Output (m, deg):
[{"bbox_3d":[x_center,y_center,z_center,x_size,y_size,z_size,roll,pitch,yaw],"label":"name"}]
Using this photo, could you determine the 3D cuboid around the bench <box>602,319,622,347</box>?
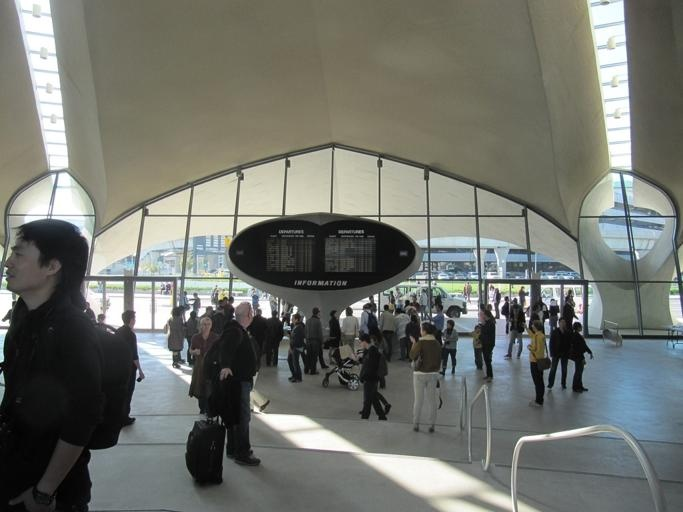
[{"bbox_3d":[12.401,3.615,20.835,0.458,0.893,0.864,-1,1,-12],"label":"bench"}]

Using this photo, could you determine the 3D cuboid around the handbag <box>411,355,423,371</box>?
[{"bbox_3d":[1.453,2.142,8.993,0.192,0.280,0.276,5,-7,-25],"label":"handbag"}]

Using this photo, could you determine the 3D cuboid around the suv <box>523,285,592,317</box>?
[{"bbox_3d":[10.367,2.534,21.765,3.041,1.894,2.017,2,-1,8],"label":"suv"}]

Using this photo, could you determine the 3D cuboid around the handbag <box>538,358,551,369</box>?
[{"bbox_3d":[4.812,2.576,10.743,0.343,0.273,0.174,5,-6,-24],"label":"handbag"}]

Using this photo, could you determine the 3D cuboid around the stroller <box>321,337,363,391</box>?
[{"bbox_3d":[0.116,3.095,12.797,1.073,1.108,0.718,2,-1,8],"label":"stroller"}]

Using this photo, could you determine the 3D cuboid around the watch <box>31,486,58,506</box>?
[{"bbox_3d":[-1.526,1.244,2.328,0.082,0.056,0.103,19,-14,-27],"label":"watch"}]

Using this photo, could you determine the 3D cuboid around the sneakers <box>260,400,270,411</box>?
[{"bbox_3d":[-1.545,3.052,9.283,0.218,0.202,0.592,16,-18,0],"label":"sneakers"}]

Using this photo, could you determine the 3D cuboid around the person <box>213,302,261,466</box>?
[{"bbox_3d":[-1.400,1.745,6.284,0.644,2.172,0.617,3,-6,-9],"label":"person"}]

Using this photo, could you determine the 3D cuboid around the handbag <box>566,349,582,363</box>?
[{"bbox_3d":[6.239,2.700,12.141,0.256,0.317,0.227,3,-6,-9],"label":"handbag"}]

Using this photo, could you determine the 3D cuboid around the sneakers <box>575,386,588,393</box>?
[{"bbox_3d":[6.349,3.552,11.998,0.438,0.119,0.214,5,-7,-20],"label":"sneakers"}]

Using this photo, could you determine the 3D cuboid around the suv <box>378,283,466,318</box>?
[{"bbox_3d":[4.213,2.475,22.487,4.197,1.716,1.909,-1,2,1],"label":"suv"}]

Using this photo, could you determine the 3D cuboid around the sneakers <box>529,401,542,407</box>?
[{"bbox_3d":[4.539,3.479,10.631,0.256,0.119,0.104,6,5,21],"label":"sneakers"}]

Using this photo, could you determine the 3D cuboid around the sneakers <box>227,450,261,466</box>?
[{"bbox_3d":[-1.328,2.737,6.227,0.459,0.206,0.184,2,-4,8],"label":"sneakers"}]

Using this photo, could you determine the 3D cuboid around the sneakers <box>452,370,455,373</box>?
[{"bbox_3d":[3.466,3.605,14.081,0.103,0.155,0.099,0,-5,7],"label":"sneakers"}]

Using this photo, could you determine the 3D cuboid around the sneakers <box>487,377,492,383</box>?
[{"bbox_3d":[4.250,3.584,13.031,0.110,0.081,0.065,-3,3,8],"label":"sneakers"}]

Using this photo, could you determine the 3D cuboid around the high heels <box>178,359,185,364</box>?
[{"bbox_3d":[-5.165,3.477,14.804,0.167,0.165,0.166,4,-15,-22],"label":"high heels"}]

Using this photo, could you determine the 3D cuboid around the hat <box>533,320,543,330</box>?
[{"bbox_3d":[4.730,1.696,10.965,0.186,0.240,0.308,-1,-7,29],"label":"hat"}]

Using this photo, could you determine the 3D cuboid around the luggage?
[{"bbox_3d":[-1.753,2.401,6.031,0.575,1.441,0.774,8,-10,-28],"label":"luggage"}]
